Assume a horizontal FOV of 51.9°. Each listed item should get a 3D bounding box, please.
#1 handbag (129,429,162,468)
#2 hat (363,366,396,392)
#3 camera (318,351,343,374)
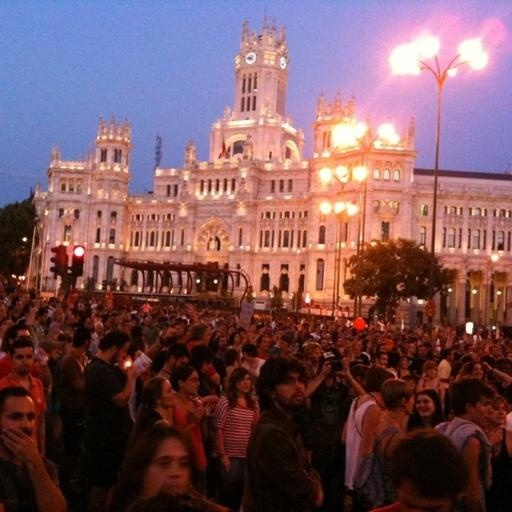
[{"bbox_3d":[-0.545,0.954,2.628,0.154,0.157,0.119,2,-2,5],"label":"handbag"},{"bbox_3d":[1.354,1.346,5.728,0.203,0.303,0.294,1,-11,4],"label":"hat"},{"bbox_3d":[0.961,1.305,6.439,0.201,0.234,0.219,1,-4,-20],"label":"camera"}]
